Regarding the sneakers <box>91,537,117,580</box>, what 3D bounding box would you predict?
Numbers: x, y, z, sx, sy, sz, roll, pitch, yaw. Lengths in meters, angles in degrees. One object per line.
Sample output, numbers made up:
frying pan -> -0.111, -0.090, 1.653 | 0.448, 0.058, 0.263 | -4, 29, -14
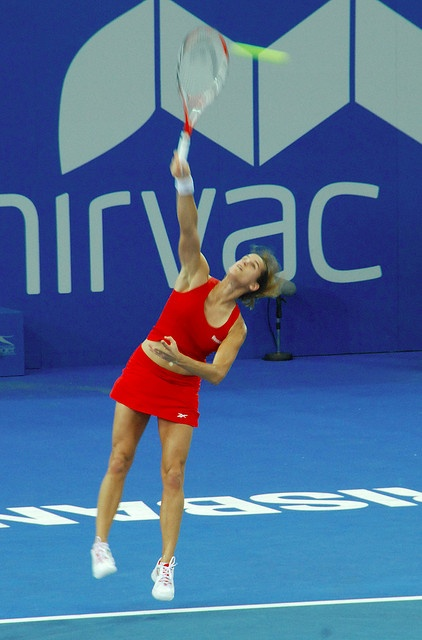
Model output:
sneakers -> -0.325, 0.729, 1.748 | 0.052, 0.063, 0.147 | 4, -7, -18

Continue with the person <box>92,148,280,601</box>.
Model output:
person -> -0.108, 0.227, 1.854 | 0.562, 1.190, 0.642 | 22, -31, -31

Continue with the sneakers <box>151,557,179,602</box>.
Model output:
sneakers -> -0.139, 0.770, 1.753 | 0.051, 0.160, 0.070 | 12, -67, -13
